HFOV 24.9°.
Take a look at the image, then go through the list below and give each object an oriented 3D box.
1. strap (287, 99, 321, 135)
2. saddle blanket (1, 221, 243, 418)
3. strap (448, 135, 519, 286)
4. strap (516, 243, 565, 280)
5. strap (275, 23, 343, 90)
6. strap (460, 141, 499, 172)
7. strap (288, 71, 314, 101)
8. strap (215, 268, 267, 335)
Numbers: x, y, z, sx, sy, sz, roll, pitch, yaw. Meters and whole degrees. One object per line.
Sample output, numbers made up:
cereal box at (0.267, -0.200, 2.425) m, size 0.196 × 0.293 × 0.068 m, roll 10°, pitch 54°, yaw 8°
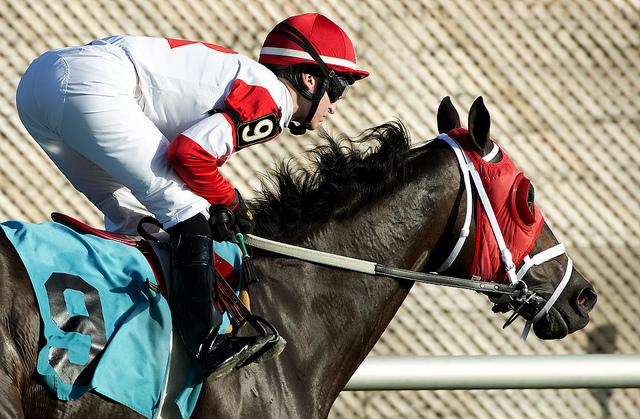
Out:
strap at (-0.095, -0.581, 9.319) m, size 0.085 × 0.219 × 0.174 m, roll 47°, pitch -8°, yaw -7°
saddle blanket at (-1.421, 0.676, 8.910) m, size 1.226 × 0.982 × 0.374 m, roll 23°, pitch 8°, yaw -4°
strap at (1.037, -0.047, 9.262) m, size 0.146 × 1.157 × 0.056 m, roll -18°, pitch 0°, yaw -2°
strap at (1.401, 0.316, 9.260) m, size 0.234 × 0.060 × 0.236 m, roll -23°, pitch -7°, yaw -27°
strap at (-0.036, -0.996, 9.273) m, size 0.421 × 0.113 × 0.327 m, roll 46°, pitch -10°, yaw -26°
strap at (1.003, -0.329, 9.225) m, size 0.199 × 0.049 × 0.151 m, roll -30°, pitch 14°, yaw -33°
strap at (-0.134, -0.783, 9.262) m, size 0.170 × 0.063 × 0.135 m, roll 47°, pitch 6°, yaw -19°
strap at (-0.510, 0.586, 9.013) m, size 0.493 × 0.072 × 0.072 m, roll 49°, pitch 19°, yaw 9°
